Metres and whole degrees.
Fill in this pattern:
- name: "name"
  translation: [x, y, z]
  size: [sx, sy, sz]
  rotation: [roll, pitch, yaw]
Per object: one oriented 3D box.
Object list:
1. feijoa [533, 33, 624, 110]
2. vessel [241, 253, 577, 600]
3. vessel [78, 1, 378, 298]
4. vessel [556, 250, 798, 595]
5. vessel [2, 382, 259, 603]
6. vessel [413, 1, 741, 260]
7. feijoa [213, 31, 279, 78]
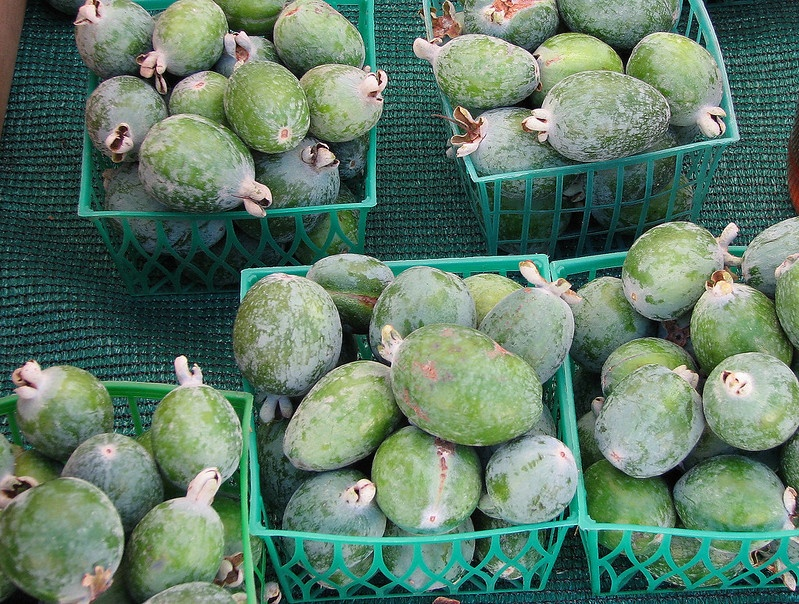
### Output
- name: "feijoa"
  translation: [0.265, -0.357, 1.179]
  size: [0.127, 0.100, 0.103]
  rotation: [4, 30, 6]
- name: "vessel"
  translation: [0.020, 0.220, 1.048]
  size: [0.414, 0.260, 0.437]
  rotation: [-1, 72, -6]
- name: "vessel"
  translation: [-0.328, -0.262, 1.388]
  size: [0.479, 0.302, 0.504]
  rotation: [-3, 69, -5]
- name: "vessel"
  translation: [0.292, 0.116, 0.918]
  size: [0.309, 0.148, 0.422]
  rotation: [-4, 71, 3]
- name: "vessel"
  translation: [-0.305, 0.231, 0.926]
  size: [0.266, 0.171, 0.279]
  rotation: [0, 64, -10]
- name: "vessel"
  translation: [0.304, -0.202, 1.306]
  size: [0.372, 0.250, 0.506]
  rotation: [-7, 59, -4]
- name: "feijoa"
  translation: [-0.238, -0.374, 1.175]
  size: [0.068, 0.092, 0.071]
  rotation: [-24, 108, -1]
